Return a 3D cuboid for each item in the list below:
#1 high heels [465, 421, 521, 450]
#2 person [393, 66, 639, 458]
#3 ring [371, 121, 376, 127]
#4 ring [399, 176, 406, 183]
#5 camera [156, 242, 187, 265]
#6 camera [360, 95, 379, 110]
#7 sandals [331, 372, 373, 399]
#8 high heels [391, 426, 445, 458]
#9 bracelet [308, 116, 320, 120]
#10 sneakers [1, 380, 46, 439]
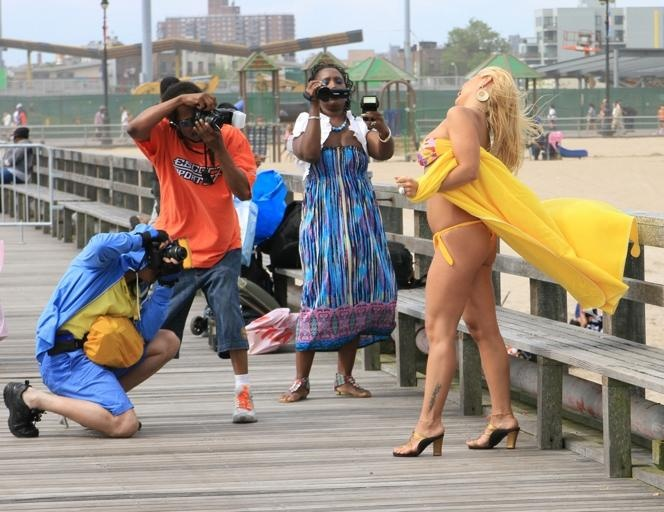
[{"bbox_3d":[0.831,0.942,6.778,0.298,0.120,0.109,-1,0,7],"label":"high heels"},{"bbox_3d":[0.891,0.018,6.682,1.186,1.936,0.558,-1,11,-1],"label":"person"},{"bbox_3d":[0.231,-0.752,7.434,0.022,0.020,0.015,4,-23,31],"label":"ring"},{"bbox_3d":[0.352,-0.378,6.506,0.040,0.024,0.093,1,10,7],"label":"ring"},{"bbox_3d":[-0.852,-0.012,6.874,0.119,0.087,0.156,-7,-11,34],"label":"camera"},{"bbox_3d":[0.207,-0.864,7.374,0.088,0.095,0.084,0,0,-3],"label":"camera"},{"bbox_3d":[0.098,0.763,7.695,0.270,0.109,0.097,-2,0,35],"label":"sandals"},{"bbox_3d":[0.435,0.952,6.625,0.244,0.092,0.125,0,-2,0],"label":"high heels"},{"bbox_3d":[-0.102,-0.771,7.299,0.061,0.023,0.049,-2,10,-12],"label":"bracelet"},{"bbox_3d":[-1.638,0.808,6.946,0.189,0.337,0.139,-3,4,10],"label":"sneakers"}]
